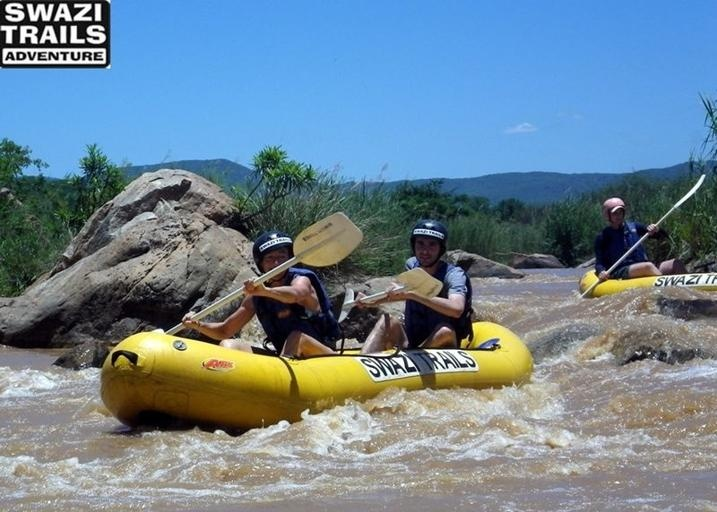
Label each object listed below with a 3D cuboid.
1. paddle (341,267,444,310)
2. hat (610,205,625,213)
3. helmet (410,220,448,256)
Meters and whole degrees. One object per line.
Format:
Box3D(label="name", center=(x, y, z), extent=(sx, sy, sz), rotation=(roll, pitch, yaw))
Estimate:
Box3D(label="paddle", center=(0.425, 0.360, 7.237), extent=(0.379, 0.158, 1.019), rotation=(33, -30, -19))
Box3D(label="hat", center=(4.714, -0.840, 12.728), extent=(0.248, 0.119, 0.131), rotation=(-2, 7, -5))
Box3D(label="helmet", center=(0.767, -0.203, 7.782), extent=(0.349, 0.403, 0.487), rotation=(8, -10, 4))
